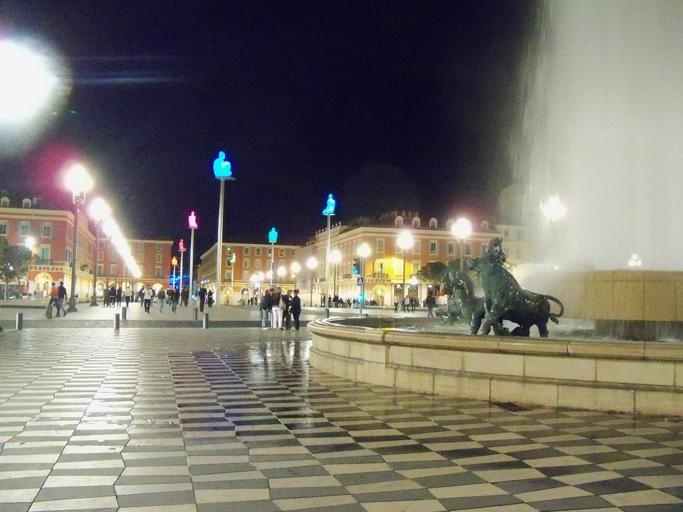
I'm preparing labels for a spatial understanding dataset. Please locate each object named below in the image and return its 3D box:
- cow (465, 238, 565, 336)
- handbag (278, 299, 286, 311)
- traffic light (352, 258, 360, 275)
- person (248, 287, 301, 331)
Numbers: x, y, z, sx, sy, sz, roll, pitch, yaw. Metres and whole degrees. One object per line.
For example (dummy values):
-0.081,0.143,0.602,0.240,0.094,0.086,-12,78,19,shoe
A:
3.194,0.627,12.007,1.253,1.841,0.723,0,-1,-7,cow
-2.286,1.970,24.679,0.254,0.352,0.556,2,-24,-3,handbag
0.806,0.660,34.723,0.313,0.769,0.993,0,-2,4,traffic light
-2.554,2.114,24.879,1.144,1.601,2.172,0,-2,-9,person
